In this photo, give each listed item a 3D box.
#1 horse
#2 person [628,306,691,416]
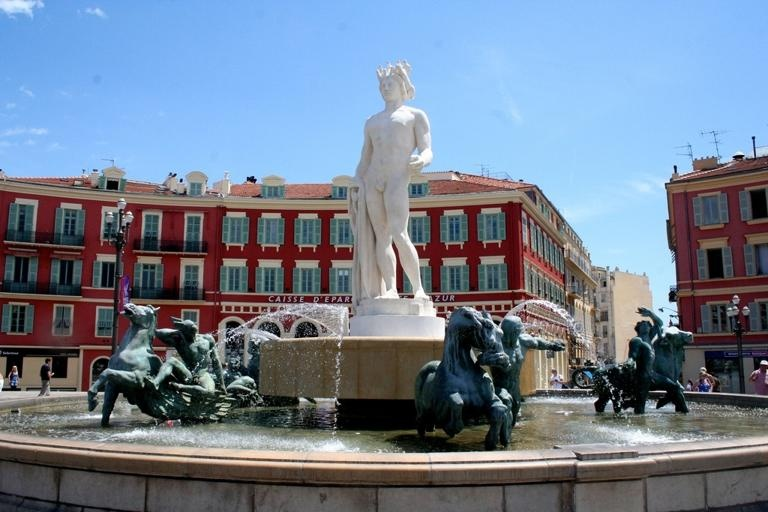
[{"bbox_3d":[-3.574,1.514,8.691,0.915,1.717,1.114,5,-10,-22],"label":"horse"},{"bbox_3d":[4.842,1.824,10.961,0.850,1.835,1.185,-7,-12,40],"label":"person"}]
